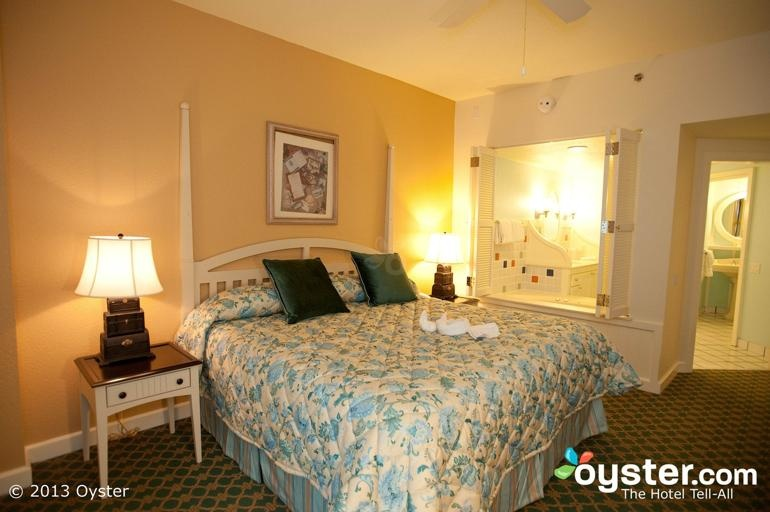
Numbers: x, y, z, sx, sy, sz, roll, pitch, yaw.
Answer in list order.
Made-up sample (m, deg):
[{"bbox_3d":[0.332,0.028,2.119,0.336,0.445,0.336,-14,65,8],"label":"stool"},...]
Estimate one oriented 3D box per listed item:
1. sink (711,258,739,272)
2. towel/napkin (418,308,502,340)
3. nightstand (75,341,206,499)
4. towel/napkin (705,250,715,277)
[{"bbox_3d":[5.033,0.140,7.688,0.307,0.117,0.270,-5,7,-44],"label":"sink"},{"bbox_3d":[0.610,0.563,4.278,0.455,0.147,0.267,-3,1,30],"label":"towel/napkin"},{"bbox_3d":[-1.908,1.201,4.430,1.089,1.104,0.957,-2,3,-42],"label":"nightstand"},{"bbox_3d":[4.771,0.110,7.677,0.125,0.342,0.267,0,1,19],"label":"towel/napkin"}]
